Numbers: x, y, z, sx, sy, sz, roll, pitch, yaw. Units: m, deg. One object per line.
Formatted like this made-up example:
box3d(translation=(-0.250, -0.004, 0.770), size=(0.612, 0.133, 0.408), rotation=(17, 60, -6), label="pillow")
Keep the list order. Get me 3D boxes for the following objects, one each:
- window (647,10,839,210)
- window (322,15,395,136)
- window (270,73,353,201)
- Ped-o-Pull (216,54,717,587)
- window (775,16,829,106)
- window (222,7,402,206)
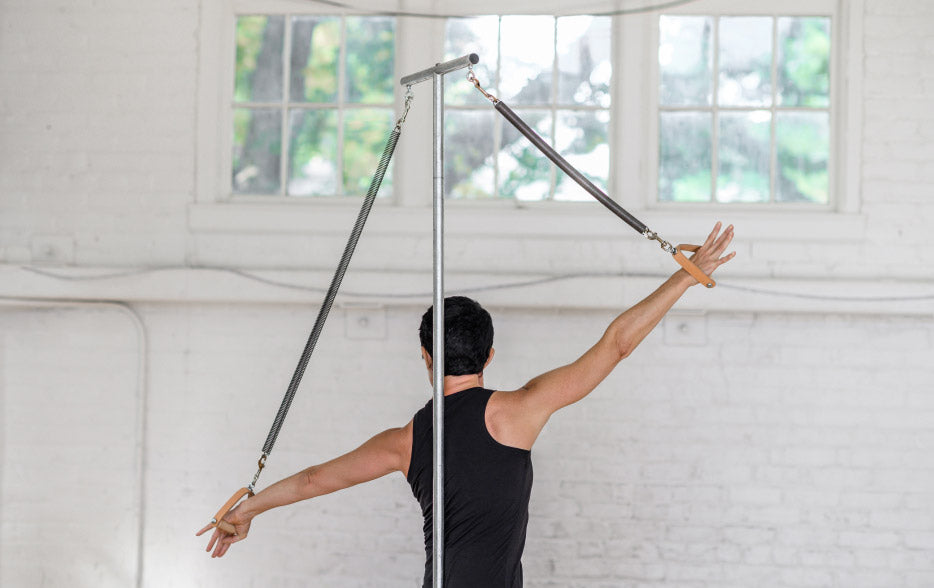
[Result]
box3d(translation=(1.412, -0.971, 9.656), size=(1.240, 1.111, 0.103), rotation=(0, -3, 1), label="window")
box3d(translation=(-0.516, -1.123, 9.778), size=(0.384, 0.588, 0.065), rotation=(-5, 8, -42), label="window")
box3d(translation=(-0.789, -0.870, 9.788), size=(0.038, 0.768, 0.494), rotation=(6, 8, 32), label="window")
box3d(translation=(0.060, 0.225, 9.468), size=(3.239, 3.452, 0.424), rotation=(1, 3, 12), label="Ped-o-Pull")
box3d(translation=(1.699, -1.167, 9.637), size=(0.261, 0.442, 0.077), rotation=(4, 11, 7), label="window")
box3d(translation=(-0.808, -0.988, 9.722), size=(1.278, 1.154, 0.091), rotation=(1, -3, -1), label="window")
